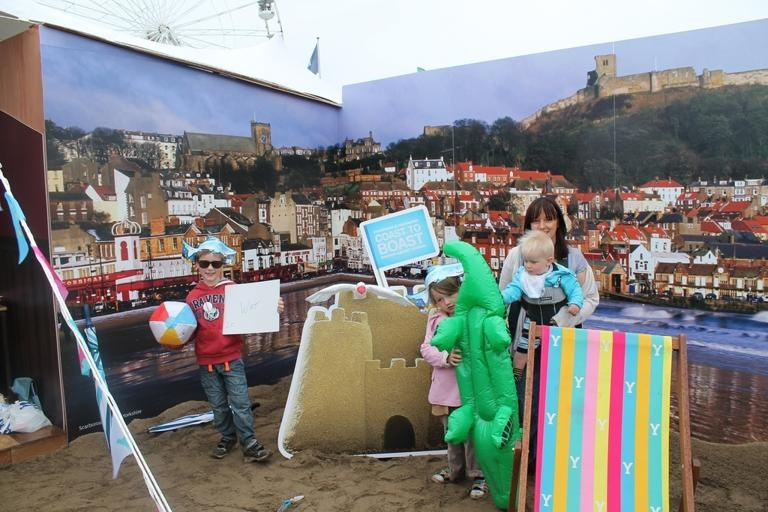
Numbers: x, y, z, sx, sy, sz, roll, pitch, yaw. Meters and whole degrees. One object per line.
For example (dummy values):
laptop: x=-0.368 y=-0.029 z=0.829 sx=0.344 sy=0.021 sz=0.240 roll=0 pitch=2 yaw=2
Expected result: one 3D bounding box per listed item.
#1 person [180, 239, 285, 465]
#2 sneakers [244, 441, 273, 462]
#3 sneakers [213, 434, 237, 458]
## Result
person: x=-1.848 y=1.076 z=7.657 sx=0.832 sy=2.565 sz=0.431 roll=-3 pitch=6 yaw=28
sneakers: x=-1.455 y=2.246 z=7.604 sx=0.326 sy=0.173 sz=0.165 roll=0 pitch=3 yaw=36
sneakers: x=-1.860 y=2.230 z=7.711 sx=0.135 sy=0.160 sz=0.363 roll=1 pitch=-5 yaw=11
